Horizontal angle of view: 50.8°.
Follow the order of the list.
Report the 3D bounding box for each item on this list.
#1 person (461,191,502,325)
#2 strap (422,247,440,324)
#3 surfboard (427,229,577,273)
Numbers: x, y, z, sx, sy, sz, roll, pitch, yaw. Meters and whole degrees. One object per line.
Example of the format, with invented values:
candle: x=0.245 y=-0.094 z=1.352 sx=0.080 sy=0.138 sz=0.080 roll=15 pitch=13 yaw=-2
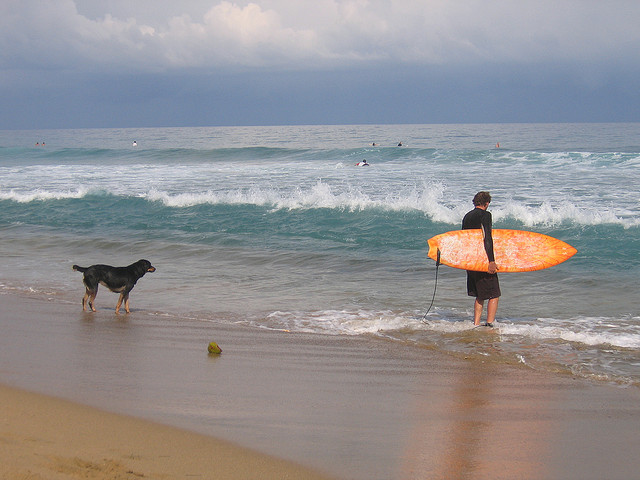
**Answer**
person: x=2.359 y=0.299 z=9.675 sx=0.614 sy=1.992 sz=1.004 roll=4 pitch=13 yaw=13
strap: x=1.933 y=0.822 z=11.404 sx=0.059 sy=1.133 sz=0.249 roll=9 pitch=18 yaw=9
surfboard: x=2.688 y=0.192 z=9.788 sx=2.509 sy=0.697 sz=0.110 roll=6 pitch=-36 yaw=-10
